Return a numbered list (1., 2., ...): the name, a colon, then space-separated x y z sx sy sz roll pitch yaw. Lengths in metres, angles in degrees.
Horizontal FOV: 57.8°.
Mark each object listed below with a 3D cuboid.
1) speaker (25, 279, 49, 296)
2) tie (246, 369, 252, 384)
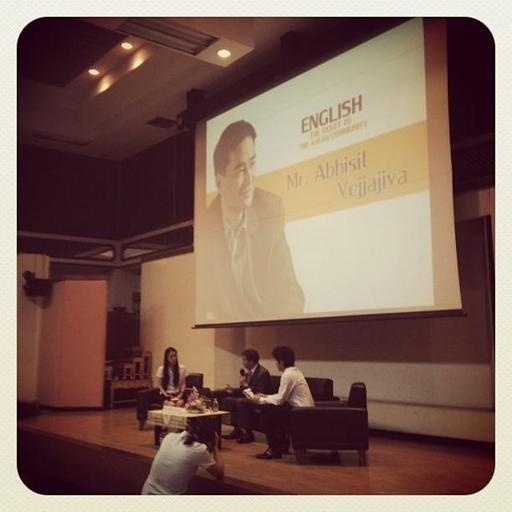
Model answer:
1. speaker: -3.971 0.580 8.501 0.399 0.352 0.277 3 -7 -28
2. tie: -0.091 1.506 5.802 0.027 0.135 0.084 8 5 -8
